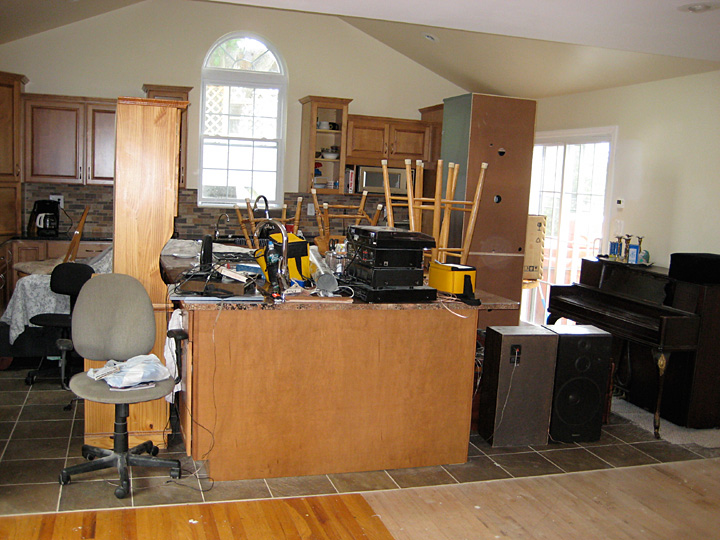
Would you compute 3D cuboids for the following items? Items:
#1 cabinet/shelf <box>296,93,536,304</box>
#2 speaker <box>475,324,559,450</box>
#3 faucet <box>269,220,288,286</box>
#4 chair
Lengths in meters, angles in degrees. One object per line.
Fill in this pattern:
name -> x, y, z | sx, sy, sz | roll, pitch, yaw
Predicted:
cabinet/shelf -> 0.659, -0.855, 6.061 | 2.737, 2.662, 1.054 | -2, 10, -16
speaker -> 1.183, 0.896, 4.173 | 0.546, 0.865, 0.286 | 6, 11, 17
faucet -> -0.538, -0.124, 3.669 | 0.126, 0.422, 0.280 | 1, 11, -9
chair -> -1.540, 0.687, 3.506 | 0.688, 1.249, 0.746 | -3, 12, -29
